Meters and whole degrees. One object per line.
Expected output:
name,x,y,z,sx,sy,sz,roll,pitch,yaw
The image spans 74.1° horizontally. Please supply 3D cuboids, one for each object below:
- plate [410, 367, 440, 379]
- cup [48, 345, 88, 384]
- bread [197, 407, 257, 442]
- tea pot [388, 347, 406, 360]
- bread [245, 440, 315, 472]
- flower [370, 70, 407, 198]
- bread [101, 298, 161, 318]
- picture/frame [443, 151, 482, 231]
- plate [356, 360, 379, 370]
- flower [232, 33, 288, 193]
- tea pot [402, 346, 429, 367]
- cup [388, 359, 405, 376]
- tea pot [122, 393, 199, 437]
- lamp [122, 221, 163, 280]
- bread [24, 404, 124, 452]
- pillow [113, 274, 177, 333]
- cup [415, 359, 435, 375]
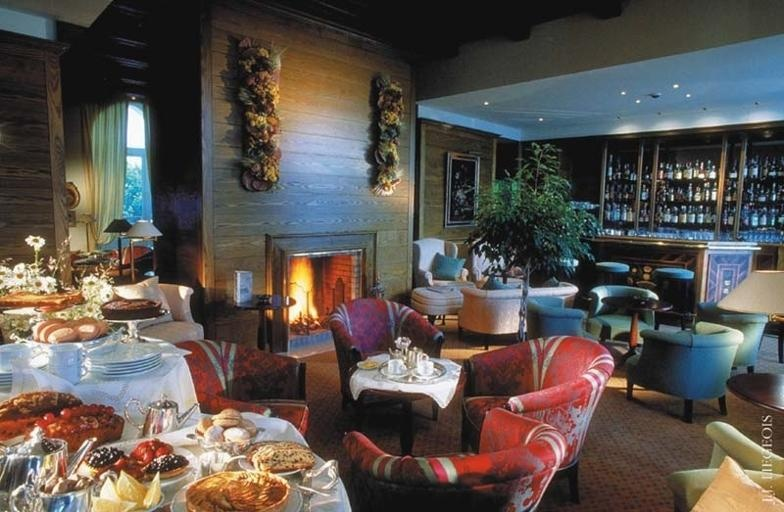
plate,0.286,0.987,4.362,0.255,0.047,0.147,-1,5,-21
cup,-2.123,0.696,3.399,0.157,0.265,0.222,6,8,41
bread,-0.973,0.977,2.986,0.201,0.076,0.182,4,0,12
tea pot,0.044,0.867,4.585,0.132,0.126,0.076,2,-3,-4
bread,-0.646,1.148,2.972,0.221,0.050,0.187,11,9,-5
flower,-0.096,-1.685,7.339,0.466,1.651,0.209,-1,7,-13
bread,-1.785,0.374,3.569,0.426,0.107,0.165,1,5,-2
picture/frame,1.252,-1.184,9.561,0.160,1.313,0.891,6,8,40
plate,-0.218,0.953,4.569,0.198,0.045,0.163,0,5,-6
flower,-1.583,-1.621,6.081,0.504,1.745,0.234,-2,7,-20
tea pot,0.202,0.882,4.517,0.150,0.177,0.182,1,-4,-2
cup,0.038,0.951,4.419,0.123,0.087,0.120,-1,-2,0
tea pot,-1.444,0.986,3.223,0.396,0.214,0.241,6,-4,-28
lamp,-3.334,-0.024,6.851,0.482,0.838,0.414,1,11,-11
bread,-1.968,1.059,3.138,0.506,0.178,0.413,-2,7,33
pillow,-2.376,0.475,5.041,0.602,0.598,0.306,-3,2,35
cup,0.269,0.941,4.394,0.124,0.089,0.122,-1,1,0
